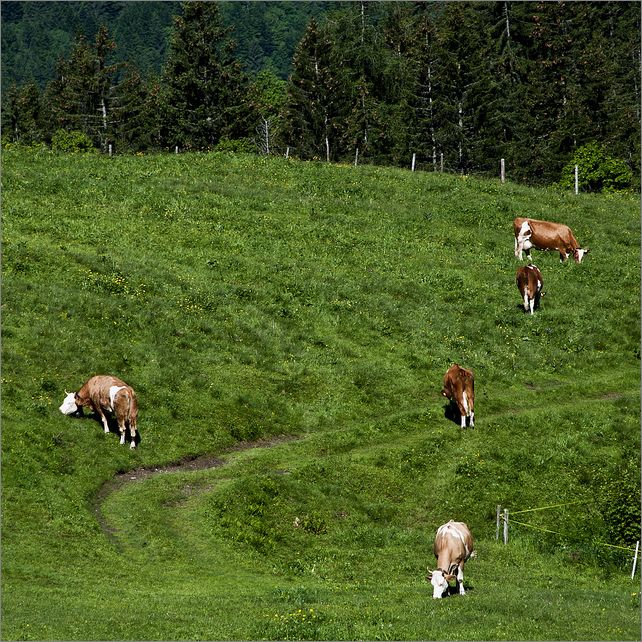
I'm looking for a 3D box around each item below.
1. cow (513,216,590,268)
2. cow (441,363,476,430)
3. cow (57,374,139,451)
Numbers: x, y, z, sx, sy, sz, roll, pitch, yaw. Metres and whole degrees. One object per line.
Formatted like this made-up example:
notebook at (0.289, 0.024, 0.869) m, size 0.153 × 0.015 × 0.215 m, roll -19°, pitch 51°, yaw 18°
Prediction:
cow at (17.981, -6.135, 127.179) m, size 7.372 × 4.652 × 2.720 m, roll 7°, pitch 11°, yaw 0°
cow at (9.732, 5.681, 114.586) m, size 2.153 × 4.531 × 2.406 m, roll 3°, pitch 10°, yaw 5°
cow at (-15.596, 6.275, 111.398) m, size 6.038 × 4.629 × 1.728 m, roll 7°, pitch 13°, yaw 28°
